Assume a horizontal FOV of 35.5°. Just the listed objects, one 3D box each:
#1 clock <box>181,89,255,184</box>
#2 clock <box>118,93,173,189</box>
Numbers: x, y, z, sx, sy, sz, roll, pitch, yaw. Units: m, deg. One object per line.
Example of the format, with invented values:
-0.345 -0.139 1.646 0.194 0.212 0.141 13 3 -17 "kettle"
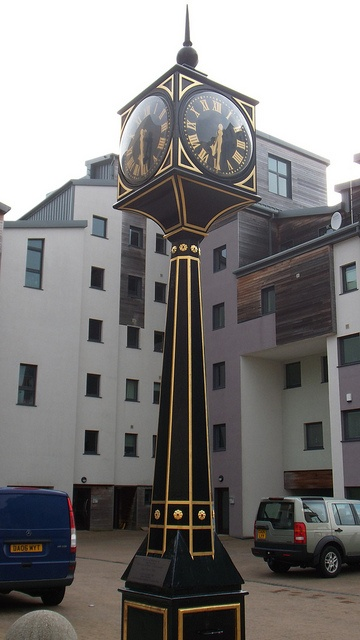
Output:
0.310 -1.432 4.387 0.807 0.757 0.070 11 -15 -42 "clock"
-0.256 -1.427 4.490 0.072 0.827 0.773 11 -3 -42 "clock"
